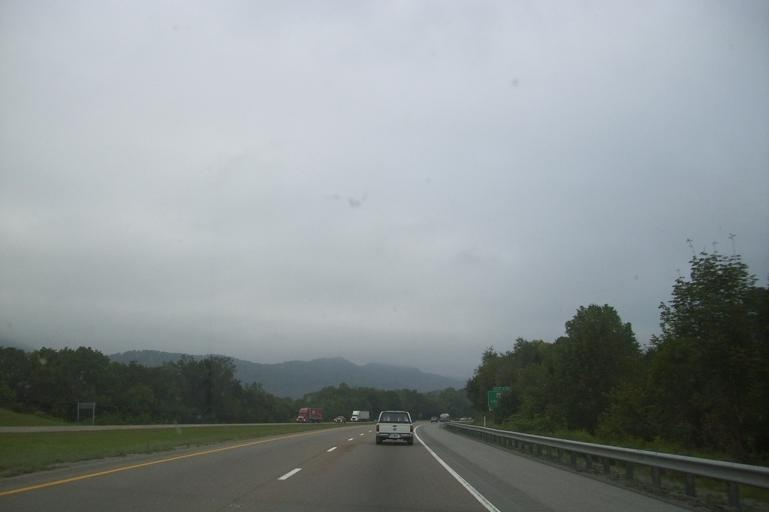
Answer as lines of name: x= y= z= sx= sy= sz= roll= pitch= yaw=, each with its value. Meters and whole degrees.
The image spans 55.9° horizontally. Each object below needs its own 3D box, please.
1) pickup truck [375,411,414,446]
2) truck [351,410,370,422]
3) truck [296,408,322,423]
pickup truck: x=0.755 y=12.568 z=53.549 sx=2.508 sy=2.623 sz=2.953 roll=2 pitch=-21 yaw=3
truck: x=-5.151 y=32.521 z=147.567 sx=1.617 sy=2.381 sz=4.769 roll=-2 pitch=-8 yaw=31
truck: x=-13.475 y=28.762 z=131.687 sx=2.387 sy=2.550 sz=4.708 roll=-5 pitch=-11 yaw=31
